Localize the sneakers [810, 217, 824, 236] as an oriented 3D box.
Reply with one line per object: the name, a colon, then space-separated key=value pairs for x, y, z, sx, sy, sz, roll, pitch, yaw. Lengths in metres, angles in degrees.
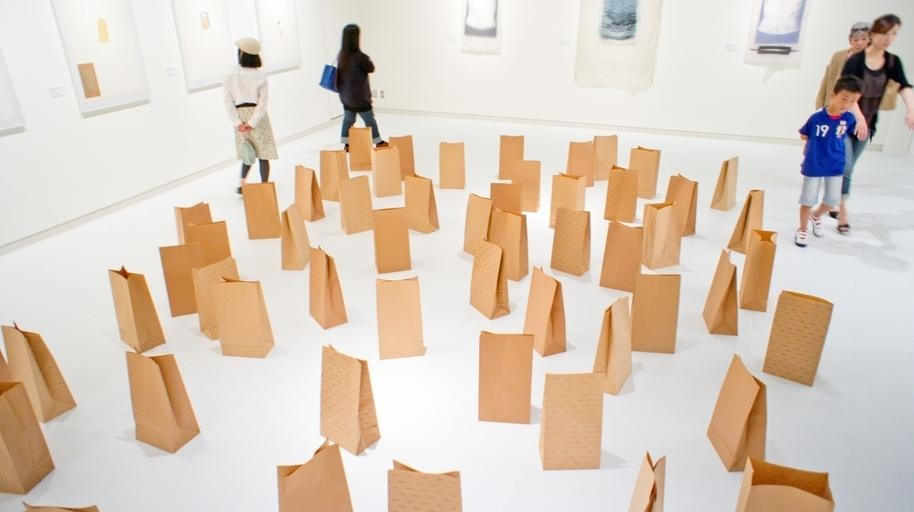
sneakers: x=3.889 y=-0.316 z=5.900 sx=0.075 sy=0.087 sz=0.205 roll=-5 pitch=58 yaw=8

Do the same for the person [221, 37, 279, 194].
person: x=-2.541 y=-1.655 z=6.655 sx=0.550 sy=1.849 sz=0.475 roll=-10 pitch=29 yaw=-19

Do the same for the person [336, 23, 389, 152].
person: x=-1.458 y=-2.388 z=7.884 sx=0.639 sy=1.744 sz=0.645 roll=1 pitch=27 yaw=1

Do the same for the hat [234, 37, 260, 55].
hat: x=-2.453 y=-2.465 z=6.409 sx=0.242 sy=0.180 sz=0.266 roll=-9 pitch=29 yaw=-19

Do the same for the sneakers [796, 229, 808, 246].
sneakers: x=3.631 y=-0.205 z=5.720 sx=0.078 sy=0.101 sz=0.234 roll=5 pitch=36 yaw=15

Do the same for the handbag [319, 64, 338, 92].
handbag: x=-1.901 y=-2.648 z=8.125 sx=0.224 sy=0.390 sz=0.629 roll=-6 pitch=28 yaw=-12
